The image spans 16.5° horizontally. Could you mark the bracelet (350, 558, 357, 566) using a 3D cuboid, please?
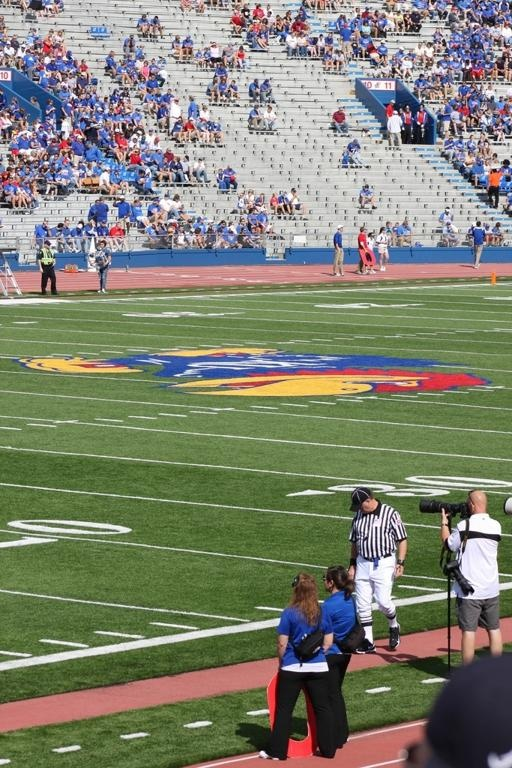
[{"bbox_3d":[0.694,1.275,12.619,0.050,0.059,0.053,5,10,12],"label":"bracelet"}]

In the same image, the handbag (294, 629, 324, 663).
[{"bbox_3d":[0.315,1.533,10.340,0.203,0.079,0.110,-47,29,-25],"label":"handbag"}]

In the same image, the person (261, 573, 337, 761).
[{"bbox_3d":[0.238,1.657,10.287,0.430,1.041,0.387,0,7,-3],"label":"person"}]

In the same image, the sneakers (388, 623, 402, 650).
[{"bbox_3d":[0.982,1.813,12.577,0.059,0.198,0.077,-2,-34,27],"label":"sneakers"}]

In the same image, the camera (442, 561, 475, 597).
[{"bbox_3d":[1.310,1.299,11.541,0.147,0.271,0.106,-37,-10,18],"label":"camera"}]

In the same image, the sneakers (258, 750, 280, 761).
[{"bbox_3d":[0.075,2.160,10.254,0.122,0.058,0.047,6,13,27],"label":"sneakers"}]

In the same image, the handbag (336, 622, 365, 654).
[{"bbox_3d":[0.582,1.591,10.933,0.115,0.156,0.267,5,9,37],"label":"handbag"}]

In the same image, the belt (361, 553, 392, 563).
[{"bbox_3d":[0.849,1.234,12.432,0.214,0.063,0.052,3,8,19],"label":"belt"}]

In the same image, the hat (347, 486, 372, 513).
[{"bbox_3d":[0.739,0.829,12.366,0.146,0.215,0.296,0,7,4],"label":"hat"}]
